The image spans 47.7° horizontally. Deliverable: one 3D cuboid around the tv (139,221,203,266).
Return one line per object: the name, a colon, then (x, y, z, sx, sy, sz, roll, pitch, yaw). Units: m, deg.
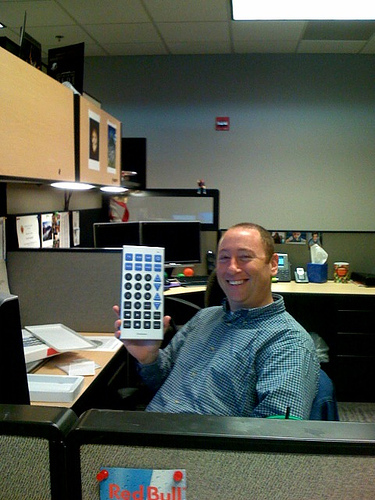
tv: (-0.104, -0.057, 2.569, 0.339, 0.223, 0.083, -1, -4, -7)

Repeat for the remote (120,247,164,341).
remote: (-0.096, 0.090, 0.926, 0.107, 0.196, 0.045, 0, -1, -12)

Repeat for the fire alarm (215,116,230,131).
fire alarm: (0.330, -1.198, 3.981, 0.142, 0.119, 0.070, 1, 11, 3)

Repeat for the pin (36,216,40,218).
pin: (-0.651, -0.144, 1.847, 0.012, 0.010, 0.006, 0, -5, -10)

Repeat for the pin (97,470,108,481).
pin: (-0.050, 0.134, 0.252, 0.007, 0.006, 0.002, 1, 4, 6)

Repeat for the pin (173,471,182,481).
pin: (-0.006, 0.134, 0.251, 0.005, 0.006, 0.001, 0, 4, -4)

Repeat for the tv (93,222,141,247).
tv: (-0.465, -0.104, 2.790, 0.319, 0.186, 0.167, 1, 7, -5)
